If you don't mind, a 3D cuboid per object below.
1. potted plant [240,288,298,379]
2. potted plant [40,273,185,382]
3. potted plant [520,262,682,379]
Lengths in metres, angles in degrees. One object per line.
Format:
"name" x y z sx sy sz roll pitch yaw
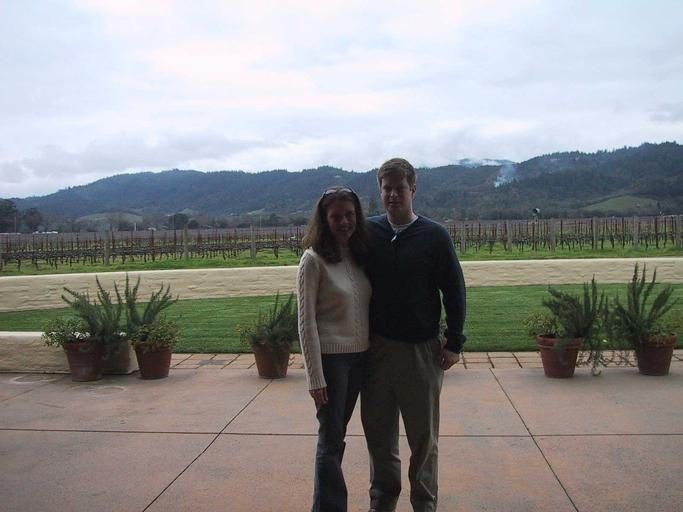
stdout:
"potted plant" -0.861 0.996 6.697 0.762 0.942 0.740 -12 -16 38
"potted plant" -2.795 0.947 6.587 1.572 1.098 0.585 -4 4 -8
"potted plant" 3.138 0.812 6.640 1.684 1.252 1.120 -3 3 -2
